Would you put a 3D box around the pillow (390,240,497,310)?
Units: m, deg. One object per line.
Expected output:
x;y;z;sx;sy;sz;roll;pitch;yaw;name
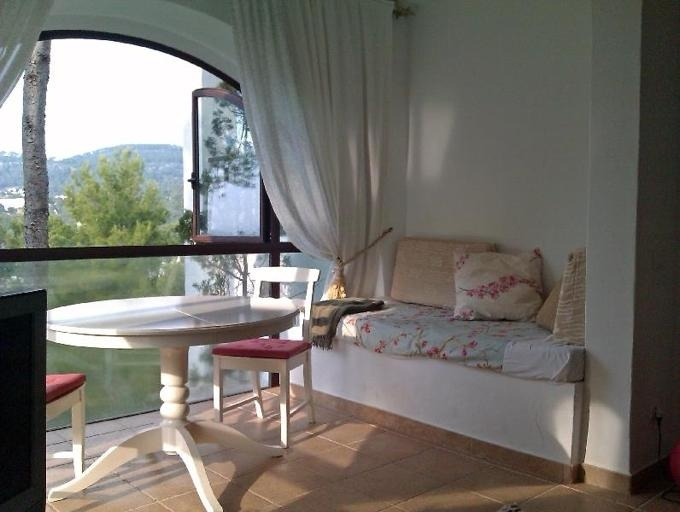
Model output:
0.669;0.137;4.073;0.574;0.586;0.178;8;-5;38;pillow

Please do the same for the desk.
-0.808;0.713;2.750;1.238;0.907;0.804;-3;8;-26;desk

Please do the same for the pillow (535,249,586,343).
1.355;0.241;3.174;0.206;0.504;0.605;7;2;19;pillow
